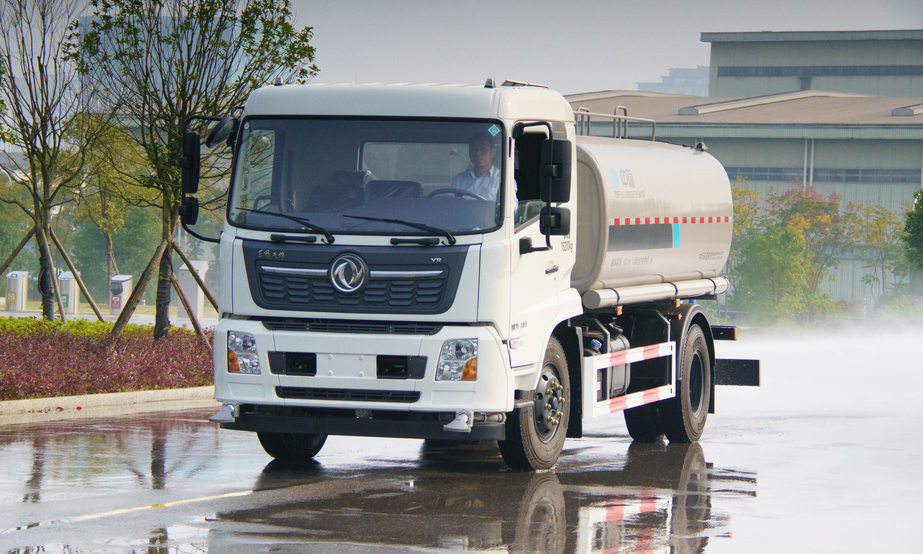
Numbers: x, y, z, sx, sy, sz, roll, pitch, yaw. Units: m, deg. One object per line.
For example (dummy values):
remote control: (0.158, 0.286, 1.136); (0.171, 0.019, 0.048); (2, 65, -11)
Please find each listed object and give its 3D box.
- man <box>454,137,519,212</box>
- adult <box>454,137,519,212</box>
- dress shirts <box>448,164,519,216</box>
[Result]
man: (0.361, -1.593, 22.893); (1.125, 1.072, 0.658); (-1, -18, 3)
adult: (0.361, -1.593, 22.893); (1.125, 1.072, 0.658); (-1, -18, 3)
dress shirts: (0.298, -1.359, 22.854); (0.816, 0.416, 0.261); (8, -3, 1)
